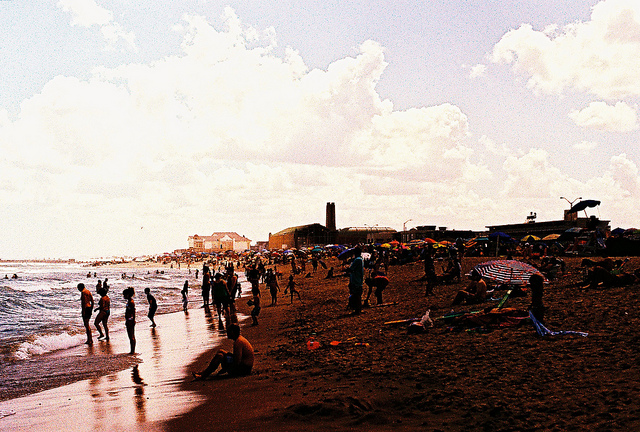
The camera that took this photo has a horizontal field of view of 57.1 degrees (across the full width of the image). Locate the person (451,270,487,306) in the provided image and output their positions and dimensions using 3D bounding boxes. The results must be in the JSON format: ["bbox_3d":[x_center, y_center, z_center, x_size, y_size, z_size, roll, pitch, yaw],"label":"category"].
[{"bbox_3d":[6.106,3.000,24.282,1.573,1.618,0.874,3,8,-5],"label":"person"}]

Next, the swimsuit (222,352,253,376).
[{"bbox_3d":[-2.746,4.947,19.480,0.953,0.402,0.514,21,-5,5],"label":"swimsuit"}]

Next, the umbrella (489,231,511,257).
[{"bbox_3d":[18.437,2.937,59.768,2.485,2.506,2.520,1,-4,0],"label":"umbrella"}]

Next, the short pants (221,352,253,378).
[{"bbox_3d":[-2.789,4.893,19.336,0.996,0.723,0.452,-4,2,20],"label":"short pants"}]

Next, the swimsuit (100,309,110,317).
[{"bbox_3d":[-9.608,4.311,26.116,0.369,0.366,0.358,-2,-14,0],"label":"swimsuit"}]

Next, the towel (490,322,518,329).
[{"bbox_3d":[6.357,3.753,20.182,0.894,0.137,0.230,-4,2,14],"label":"towel"}]

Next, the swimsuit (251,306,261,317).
[{"bbox_3d":[-3.071,4.523,27.950,0.513,0.529,0.479,1,-12,0],"label":"swimsuit"}]

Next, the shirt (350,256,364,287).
[{"bbox_3d":[1.547,2.328,24.231,0.540,1.012,0.634,-5,2,-2],"label":"shirt"}]

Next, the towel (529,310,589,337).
[{"bbox_3d":[7.867,3.525,19.115,1.524,0.704,0.557,-7,8,11],"label":"towel"}]

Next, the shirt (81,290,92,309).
[{"bbox_3d":[-10.139,3.597,25.416,0.379,0.830,0.437,-6,2,-22],"label":"shirt"}]

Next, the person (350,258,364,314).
[{"bbox_3d":[1.601,2.947,24.601,0.548,1.968,1.340,-5,2,2],"label":"person"}]

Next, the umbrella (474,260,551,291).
[{"bbox_3d":[7.357,2.317,22.854,2.174,0.814,1.598,-4,2,35],"label":"umbrella"}]
